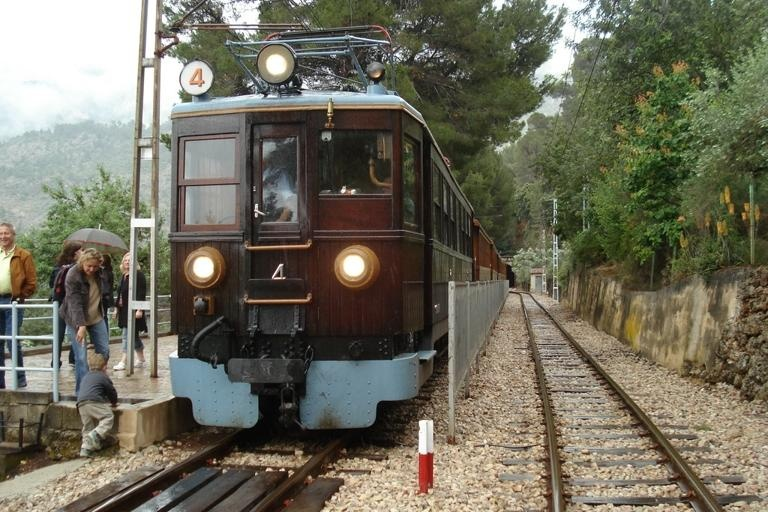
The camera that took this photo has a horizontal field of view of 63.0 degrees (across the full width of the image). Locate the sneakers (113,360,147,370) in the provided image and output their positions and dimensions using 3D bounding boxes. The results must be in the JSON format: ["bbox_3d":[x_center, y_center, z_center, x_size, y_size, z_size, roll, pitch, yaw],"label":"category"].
[{"bbox_3d":[-4.940,2.131,12.250,0.217,0.290,0.648,-8,-15,38],"label":"sneakers"}]

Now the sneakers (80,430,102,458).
[{"bbox_3d":[-4.319,2.767,9.244,0.184,0.213,0.505,7,-40,9],"label":"sneakers"}]
